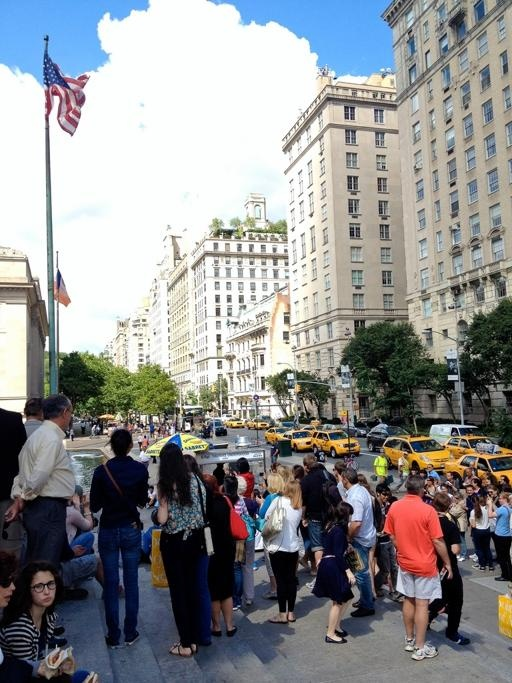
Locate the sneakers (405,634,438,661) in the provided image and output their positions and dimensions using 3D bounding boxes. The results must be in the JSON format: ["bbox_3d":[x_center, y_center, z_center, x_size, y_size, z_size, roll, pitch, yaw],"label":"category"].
[{"bbox_3d":[1.687,3.074,5.839,0.363,0.165,0.145,2,-1,-43],"label":"sneakers"}]

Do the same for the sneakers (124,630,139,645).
[{"bbox_3d":[-1.206,2.863,5.603,0.058,0.074,0.174,3,6,8],"label":"sneakers"}]

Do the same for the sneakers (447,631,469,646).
[{"bbox_3d":[2.182,3.184,6.214,0.091,0.083,0.193,6,8,-30],"label":"sneakers"}]

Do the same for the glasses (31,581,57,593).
[{"bbox_3d":[-1.336,1.550,3.666,0.042,0.071,0.176,-9,-9,36],"label":"glasses"}]

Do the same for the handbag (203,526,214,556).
[{"bbox_3d":[-0.459,1.914,5.553,0.070,0.263,0.185,-2,-8,-6],"label":"handbag"}]

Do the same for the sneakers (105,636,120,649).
[{"bbox_3d":[-1.345,2.805,5.405,0.122,0.113,0.144,-1,-8,-13],"label":"sneakers"}]

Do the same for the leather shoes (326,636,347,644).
[{"bbox_3d":[0.865,3.187,6.203,0.167,0.065,0.086,-3,-3,3],"label":"leather shoes"}]

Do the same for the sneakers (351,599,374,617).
[{"bbox_3d":[1.347,3.396,7.308,0.211,0.085,0.250,4,-9,-7],"label":"sneakers"}]

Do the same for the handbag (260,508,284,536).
[{"bbox_3d":[0.210,2.155,6.904,0.104,0.285,0.262,33,-40,-11],"label":"handbag"}]

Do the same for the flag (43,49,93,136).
[{"bbox_3d":[-5.129,-6.664,15.609,1.104,2.112,0.685,2,-9,-32],"label":"flag"}]
